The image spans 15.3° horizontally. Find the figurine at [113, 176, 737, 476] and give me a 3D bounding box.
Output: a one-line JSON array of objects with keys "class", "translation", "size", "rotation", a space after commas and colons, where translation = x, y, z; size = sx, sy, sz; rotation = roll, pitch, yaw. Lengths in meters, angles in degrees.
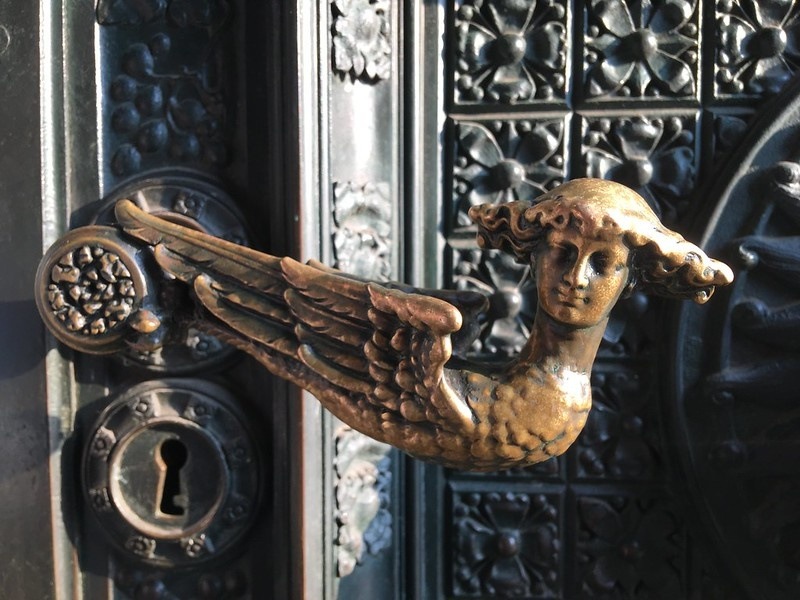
[{"class": "figurine", "translation": [0.024, 0.019, 4.808], "size": [1.015, 0.480, 0.240], "rotation": [7, 9, 18]}]
